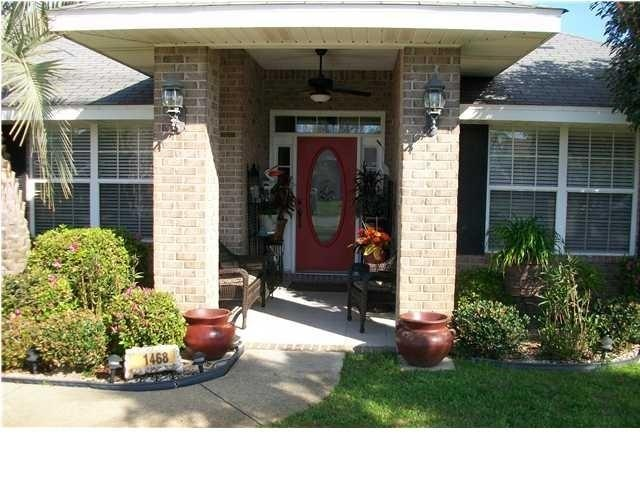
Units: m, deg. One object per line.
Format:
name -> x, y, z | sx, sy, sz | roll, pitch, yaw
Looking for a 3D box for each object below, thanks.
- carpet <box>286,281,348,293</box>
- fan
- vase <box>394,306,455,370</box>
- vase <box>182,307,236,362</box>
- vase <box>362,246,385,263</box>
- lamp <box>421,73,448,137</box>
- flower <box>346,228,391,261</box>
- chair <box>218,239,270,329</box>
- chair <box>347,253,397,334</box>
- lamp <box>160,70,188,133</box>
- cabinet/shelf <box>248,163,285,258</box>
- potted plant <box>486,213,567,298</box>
carpet -> -0.064, 0.831, 10.514 | 1.026, 0.058, 0.801 | 0, 11, 1
fan -> 0.127, -2.581, 9.733 | 1.012, 0.571, 0.794 | 1, 19, 0
vase -> 1.228, 1.177, 7.046 | 0.721, 0.605, 0.693 | 1, 5, 1
vase -> -1.321, 1.100, 6.964 | 0.577, 0.473, 0.534 | 0, -5, -1
vase -> 0.731, 0.187, 8.150 | 0.239, 0.225, 0.218 | 3, 2, 7
lamp -> 1.388, -1.640, 7.219 | 0.297, 0.758, 0.256 | 2, 9, 11
flower -> 0.720, 0.065, 8.293 | 0.459, 0.430, 0.488 | 3, 9, 17
chair -> -1.241, 0.556, 8.553 | 0.651, 1.083, 1.605 | -1, 4, 3
chair -> 0.775, 0.780, 8.486 | 0.625, 0.794, 1.054 | -1, 1, -10
lamp -> -1.838, -1.626, 7.311 | 0.311, 0.637, 0.237 | -1, 9, -3
cabinet/shelf -> -0.941, -0.491, 10.095 | 0.573, 1.574, 2.322 | -1, 10, -4
potted plant -> 2.846, 0.221, 8.278 | 0.796, 1.170, 0.920 | -1, 0, 29
